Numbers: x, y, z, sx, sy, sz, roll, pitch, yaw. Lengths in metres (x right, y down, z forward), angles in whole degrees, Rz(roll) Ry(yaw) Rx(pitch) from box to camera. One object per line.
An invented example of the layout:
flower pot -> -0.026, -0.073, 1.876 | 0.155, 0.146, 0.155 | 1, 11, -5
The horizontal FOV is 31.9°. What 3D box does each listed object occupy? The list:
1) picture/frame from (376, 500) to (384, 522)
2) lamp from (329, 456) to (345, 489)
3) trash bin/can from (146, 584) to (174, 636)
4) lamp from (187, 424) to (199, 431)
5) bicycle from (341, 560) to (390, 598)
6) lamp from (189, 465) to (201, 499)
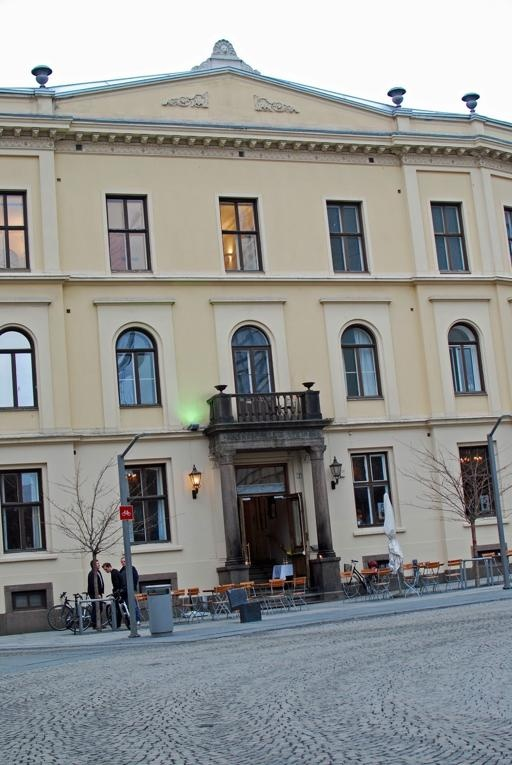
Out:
picture/frame -> 4.021, 4.103, 28.584 | 0.295, 0.714, 0.136 | 0, -13, -39
lamp -> 2.597, 2.787, 28.042 | 0.509, 1.009, 0.394 | -4, -11, -23
trash bin/can -> -2.166, 5.123, 20.169 | 0.774, 1.107, 0.758 | 7, -19, -35
lamp -> -1.847, 1.319, 26.760 | 0.230, 0.150, 0.218 | 1, 4, 3
bicycle -> 3.120, 5.821, 26.117 | 1.905, 1.113, 0.856 | -7, -7, 38
lamp -> -1.774, 2.916, 26.418 | 0.362, 0.970, 0.313 | -8, -10, -5
